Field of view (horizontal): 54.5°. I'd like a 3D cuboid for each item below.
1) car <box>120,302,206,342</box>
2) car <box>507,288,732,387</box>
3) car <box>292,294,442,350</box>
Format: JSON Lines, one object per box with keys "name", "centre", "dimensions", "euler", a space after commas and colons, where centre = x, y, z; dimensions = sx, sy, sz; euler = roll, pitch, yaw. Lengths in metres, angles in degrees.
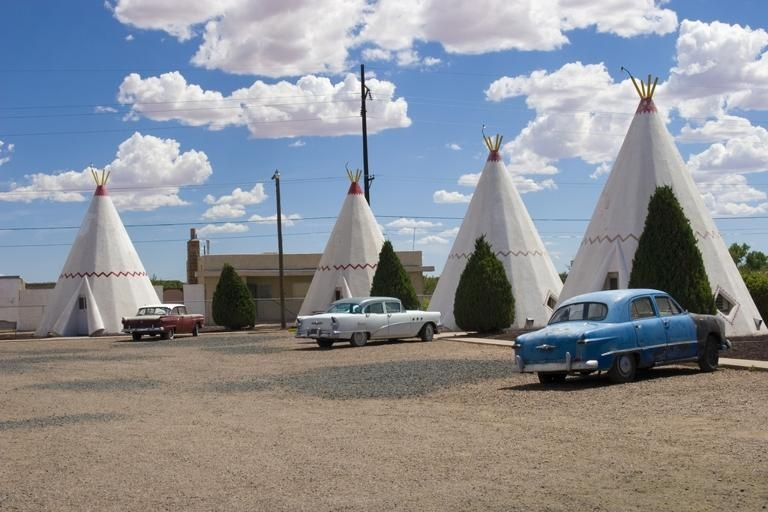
{"name": "car", "centre": [-7.610, 2.253, 26.120], "dimensions": [1.198, 0.867, 2.648], "euler": [-3, -6, 24]}
{"name": "car", "centre": [4.069, 1.279, 12.352], "dimensions": [3.355, 1.130, 1.485], "euler": [-3, 0, -34]}
{"name": "car", "centre": [-0.469, 1.802, 20.691], "dimensions": [3.482, 1.033, 1.572], "euler": [-2, 1, -33]}
